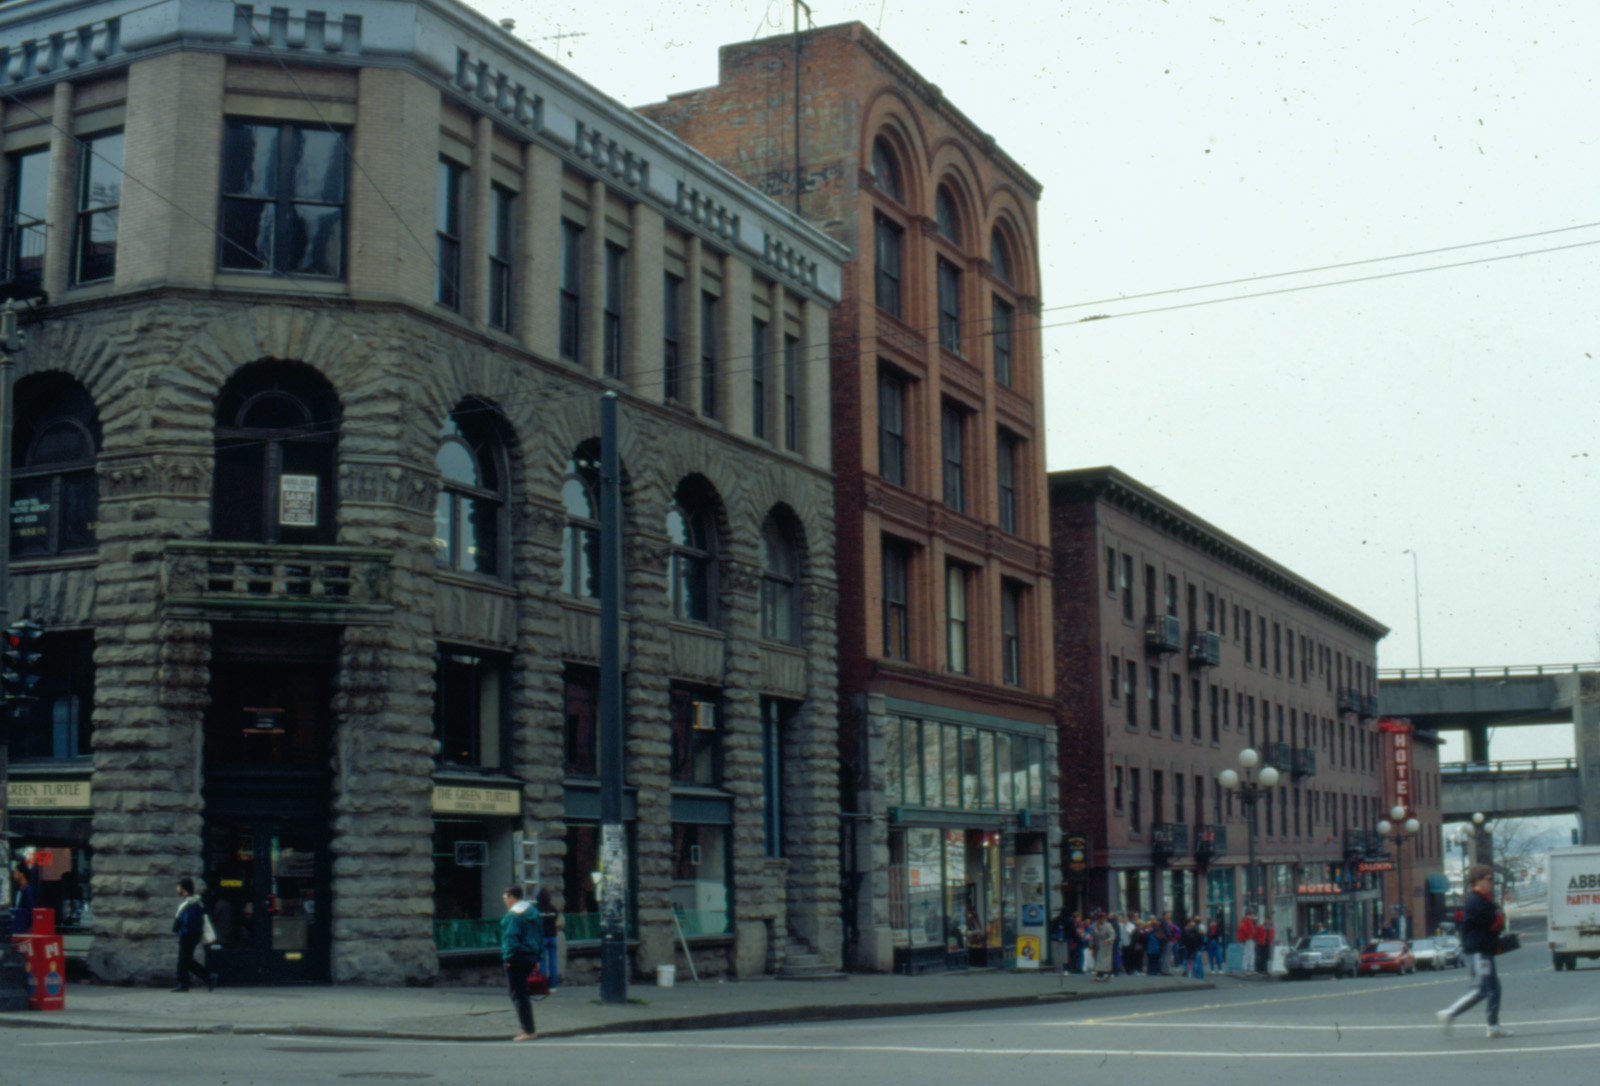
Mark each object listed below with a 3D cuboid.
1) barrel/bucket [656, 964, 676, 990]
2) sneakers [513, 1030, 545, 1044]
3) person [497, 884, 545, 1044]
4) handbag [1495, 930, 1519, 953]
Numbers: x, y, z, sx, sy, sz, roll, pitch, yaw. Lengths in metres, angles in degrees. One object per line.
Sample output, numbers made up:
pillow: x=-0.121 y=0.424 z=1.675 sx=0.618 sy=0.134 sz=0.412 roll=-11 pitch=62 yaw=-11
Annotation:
barrel/bucket: x=-2.848 y=9.355 z=58.971 sx=0.443 sy=0.501 sz=0.449 roll=0 pitch=-8 yaw=0
sneakers: x=-4.844 y=8.760 z=48.382 sx=0.447 sy=0.199 sz=0.155 roll=7 pitch=-11 yaw=-7
person: x=-4.932 y=7.428 z=48.514 sx=0.570 sy=2.661 sz=1.317 roll=-1 pitch=-16 yaw=-3
handbag: x=12.031 y=6.813 z=46.532 sx=0.381 sy=0.391 sz=0.103 roll=-9 pitch=-5 yaw=-31
